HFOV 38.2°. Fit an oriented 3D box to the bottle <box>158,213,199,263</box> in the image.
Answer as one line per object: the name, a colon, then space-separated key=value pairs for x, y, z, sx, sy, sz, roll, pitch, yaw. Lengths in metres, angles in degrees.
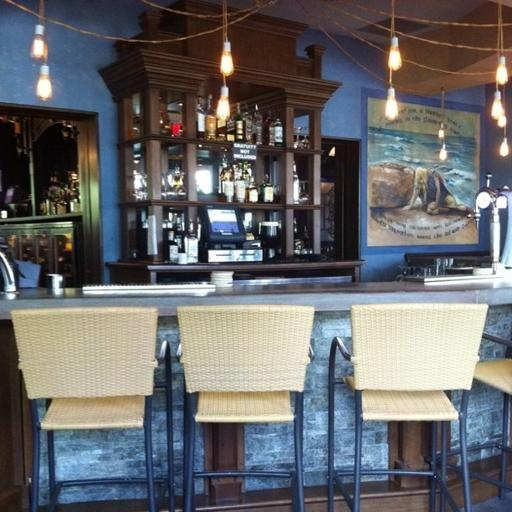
bottle: x=-0.564 y=-0.141 z=5.578 sx=0.285 sy=0.357 sz=0.467 roll=-1 pitch=4 yaw=-4

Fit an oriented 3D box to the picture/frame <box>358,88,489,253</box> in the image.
picture/frame: x=1.705 y=-0.899 z=7.794 sx=1.934 sy=1.758 sz=0.033 roll=-3 pitch=5 yaw=-33

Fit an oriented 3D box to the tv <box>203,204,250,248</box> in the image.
tv: x=-0.243 y=-0.223 z=5.544 sx=0.330 sy=0.312 sz=0.168 roll=2 pitch=-14 yaw=-29

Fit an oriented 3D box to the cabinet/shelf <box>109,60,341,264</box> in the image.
cabinet/shelf: x=-0.323 y=-0.747 z=5.804 sx=1.869 sy=1.522 sz=0.715 roll=-1 pitch=1 yaw=-28

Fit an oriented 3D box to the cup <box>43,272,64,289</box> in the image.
cup: x=-1.047 y=0.126 z=3.832 sx=0.078 sy=0.082 sz=0.078 roll=1 pitch=3 yaw=0

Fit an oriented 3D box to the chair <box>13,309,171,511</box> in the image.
chair: x=-0.693 y=0.697 z=3.258 sx=0.616 sy=1.001 sz=0.413 roll=-1 pitch=4 yaw=-4

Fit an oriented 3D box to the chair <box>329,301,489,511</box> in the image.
chair: x=0.668 y=0.724 z=3.401 sx=0.659 sy=1.075 sz=0.489 roll=-1 pitch=4 yaw=1
